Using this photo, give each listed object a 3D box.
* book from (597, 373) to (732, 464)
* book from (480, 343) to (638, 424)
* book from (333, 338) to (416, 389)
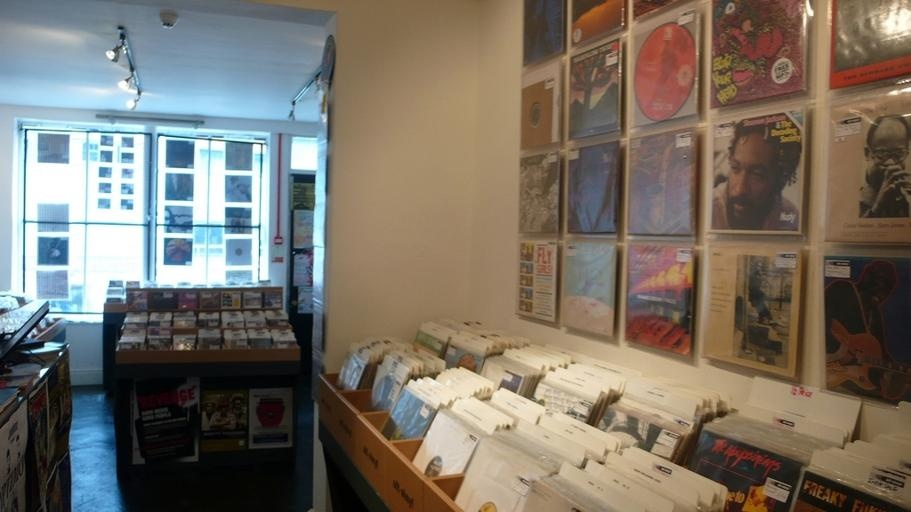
[{"bbox_3d":[1.024,0.816,2.844,0.425,0.164,0.456,14,51,39],"label":"book"},{"bbox_3d":[0.577,0.708,3.240,0.550,0.192,0.408,9,8,40],"label":"book"},{"bbox_3d":[-0.563,0.730,3.849,0.317,0.415,0.125,12,-19,48],"label":"book"}]
